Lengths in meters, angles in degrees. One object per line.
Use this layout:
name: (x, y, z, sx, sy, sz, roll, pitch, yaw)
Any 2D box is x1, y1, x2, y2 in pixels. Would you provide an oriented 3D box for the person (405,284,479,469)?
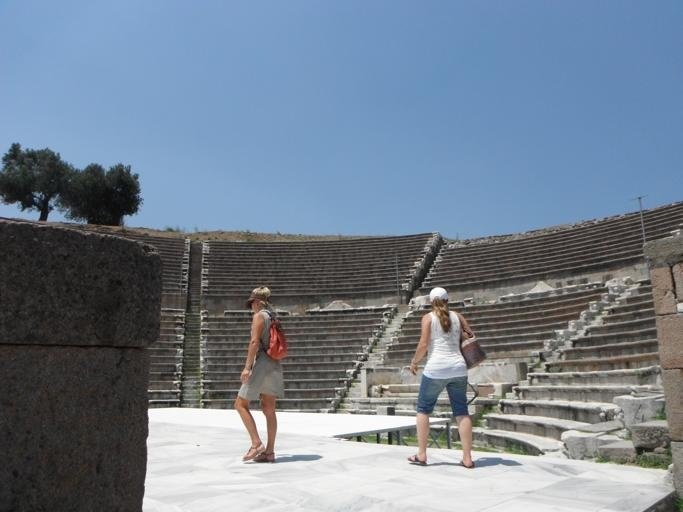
person: (1.012, 1.197, 8.704, 0.566, 1.792, 0.484, 2, -13, 8)

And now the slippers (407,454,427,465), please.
slippers: (0.765, 2.081, 8.852, 0.197, 0.060, 0.072, 5, -10, 30)

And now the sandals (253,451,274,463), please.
sandals: (-0.824, 2.129, 9.161, 0.210, 0.096, 0.088, 7, -12, -11)

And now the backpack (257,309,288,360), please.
backpack: (-0.700, 0.824, 9.112, 0.255, 0.528, 0.275, 4, -12, -5)

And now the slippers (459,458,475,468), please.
slippers: (1.263, 2.103, 8.762, 0.148, 0.075, 0.246, 1, -12, 7)
